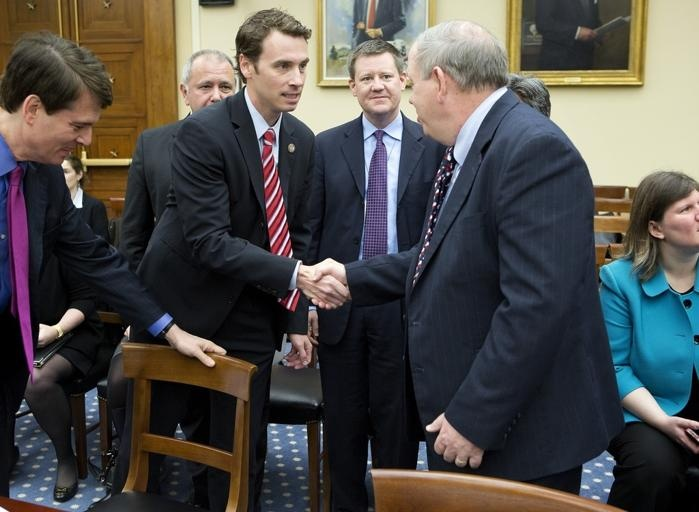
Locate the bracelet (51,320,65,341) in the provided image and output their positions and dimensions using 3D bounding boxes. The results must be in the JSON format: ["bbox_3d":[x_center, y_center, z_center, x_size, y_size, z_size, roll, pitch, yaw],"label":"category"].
[{"bbox_3d":[-1.585,0.410,3.233,0.046,0.079,0.083,-7,-35,-9],"label":"bracelet"}]

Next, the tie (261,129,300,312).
[{"bbox_3d":[-0.291,-0.116,2.437,0.113,0.813,0.087,-13,17,-22],"label":"tie"}]

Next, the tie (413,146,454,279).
[{"bbox_3d":[0.304,-0.152,2.193,0.074,0.621,0.065,20,-15,-22],"label":"tie"}]

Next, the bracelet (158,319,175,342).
[{"bbox_3d":[-0.702,0.285,2.294,0.026,0.075,0.060,21,8,4],"label":"bracelet"}]

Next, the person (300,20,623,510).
[{"bbox_3d":[0.475,-0.002,1.816,0.683,1.458,0.359,2,4,29],"label":"person"}]

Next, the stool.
[{"bbox_3d":[-0.222,0.890,3.076,0.426,0.753,0.523,2,14,11],"label":"stool"}]

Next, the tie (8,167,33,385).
[{"bbox_3d":[-1.155,0.048,2.100,0.057,0.725,0.174,0,4,-9],"label":"tie"}]
